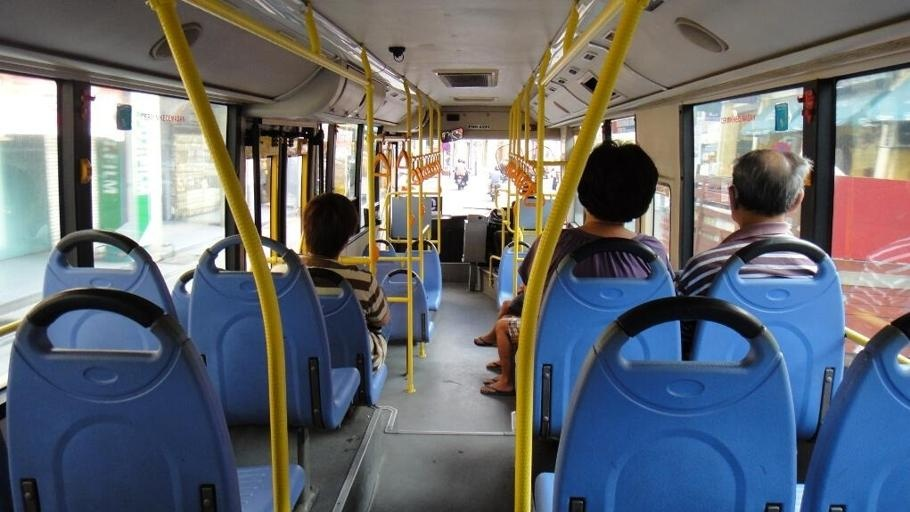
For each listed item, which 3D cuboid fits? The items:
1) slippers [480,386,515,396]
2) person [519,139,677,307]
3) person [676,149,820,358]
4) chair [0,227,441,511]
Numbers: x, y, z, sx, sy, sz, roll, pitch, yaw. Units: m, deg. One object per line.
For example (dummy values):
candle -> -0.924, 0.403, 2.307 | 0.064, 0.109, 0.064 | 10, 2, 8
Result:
slippers -> 0.378, 1.229, 5.551 | 0.279, 0.061, 0.105 | 2, 0, 3
person -> 0.951, -0.186, 3.879 | 1.183, 1.036, 0.507 | 2, 10, -23
person -> 1.757, -0.008, 3.546 | 0.742, 1.262, 0.588 | 0, 4, -14
chair -> -1.484, 0.490, 3.909 | 2.410, 1.413, 1.353 | -1, 4, -1
